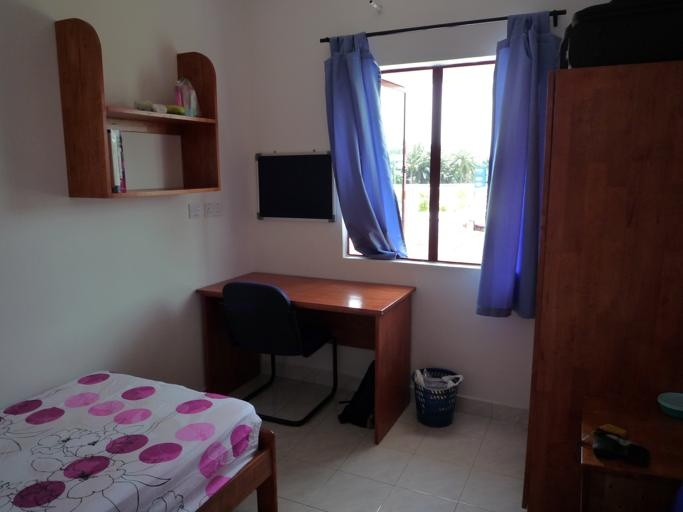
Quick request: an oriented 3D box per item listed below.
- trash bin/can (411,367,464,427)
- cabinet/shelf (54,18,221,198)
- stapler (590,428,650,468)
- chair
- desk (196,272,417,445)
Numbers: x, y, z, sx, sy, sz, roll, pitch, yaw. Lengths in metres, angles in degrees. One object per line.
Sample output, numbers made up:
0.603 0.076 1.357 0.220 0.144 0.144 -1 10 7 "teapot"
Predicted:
0.679 0.969 3.613 0.336 0.403 0.327 3 -4 -10 "trash bin/can"
-1.191 -0.863 3.122 0.300 0.969 0.930 6 13 34 "cabinet/shelf"
1.134 0.778 2.091 0.204 0.075 0.135 5 13 29 "stapler"
-0.466 0.568 3.683 0.652 1.116 0.697 9 12 22 "chair"
-0.158 0.514 3.680 1.287 1.147 1.168 9 12 27 "desk"
